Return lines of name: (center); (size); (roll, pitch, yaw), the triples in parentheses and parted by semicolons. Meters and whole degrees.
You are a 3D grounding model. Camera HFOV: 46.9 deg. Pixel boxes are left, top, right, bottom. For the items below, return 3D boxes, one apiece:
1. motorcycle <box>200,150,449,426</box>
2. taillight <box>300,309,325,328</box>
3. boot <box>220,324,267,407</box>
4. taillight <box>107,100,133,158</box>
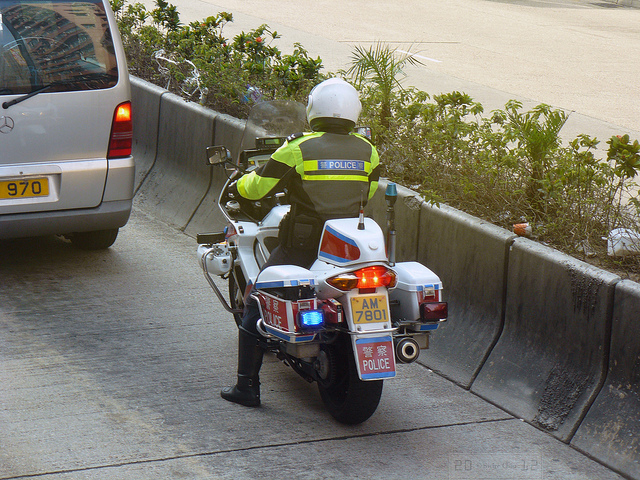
motorcycle: (-0.217, 0.255, 6.038); (1.287, 1.553, 2.738); (-3, 15, -31)
taillight: (-0.048, 0.524, 5.058); (0.206, 0.143, 0.108); (-5, 15, -15)
boot: (-0.576, 0.947, 5.560); (0.327, 0.552, 0.305); (9, 25, 5)
taillight: (-1.969, -1.088, 7.252); (0.144, 0.529, 0.336); (21, 28, 28)
